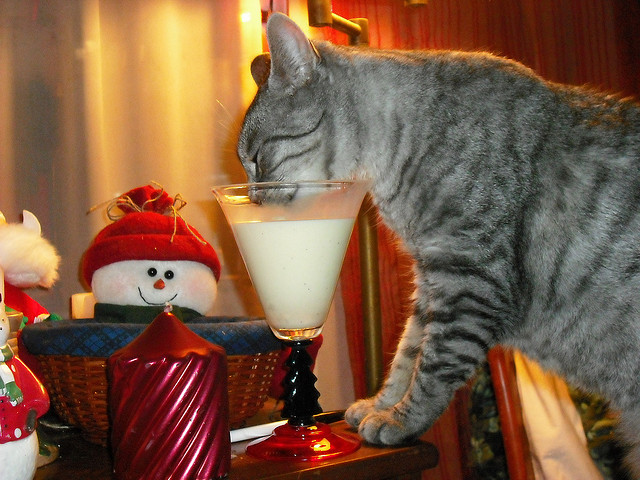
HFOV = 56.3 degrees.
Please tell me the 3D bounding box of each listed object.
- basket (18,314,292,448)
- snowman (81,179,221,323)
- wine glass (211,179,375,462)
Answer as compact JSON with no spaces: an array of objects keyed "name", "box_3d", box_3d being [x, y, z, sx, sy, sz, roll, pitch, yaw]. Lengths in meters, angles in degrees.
[{"name":"basket","box_3d":[-0.337,0.217,1.059,0.331,0.146,0.330,-1,-10,-4]},{"name":"snowman","box_3d":[-0.340,0.037,1.389,0.300,0.346,0.297,-6,-9,28]},{"name":"wine glass","box_3d":[-0.055,0.138,1.047,0.270,0.482,0.208,1,11,1]}]
